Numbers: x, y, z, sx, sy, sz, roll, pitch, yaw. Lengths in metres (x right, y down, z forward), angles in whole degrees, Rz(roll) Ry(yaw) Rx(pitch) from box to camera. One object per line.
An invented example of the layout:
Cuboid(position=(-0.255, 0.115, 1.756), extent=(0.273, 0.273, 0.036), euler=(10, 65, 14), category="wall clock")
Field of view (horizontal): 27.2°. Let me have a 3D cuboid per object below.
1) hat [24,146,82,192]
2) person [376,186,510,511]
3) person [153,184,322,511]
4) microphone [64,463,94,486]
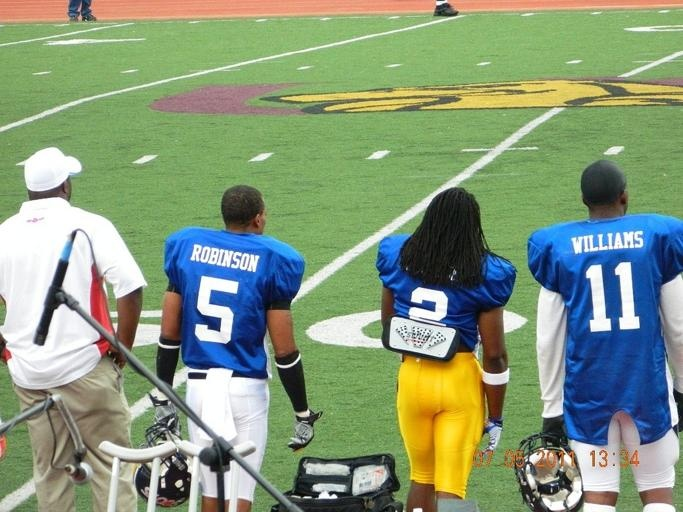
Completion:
Cuboid(position=(-1.788, -0.504, 8.813), extent=(0.261, 0.177, 0.345), euler=(25, 48, 37), category="hat")
Cuboid(position=(0.574, 0.589, 8.599), extent=(0.792, 1.904, 0.794), euler=(6, 17, 28), category="person")
Cuboid(position=(-0.671, 0.424, 8.664), extent=(0.792, 1.624, 0.883), euler=(-13, 19, -36), category="person")
Cuboid(position=(-1.536, 1.268, 8.234), extent=(0.099, 0.080, 0.197), euler=(-21, -4, -6), category="microphone")
